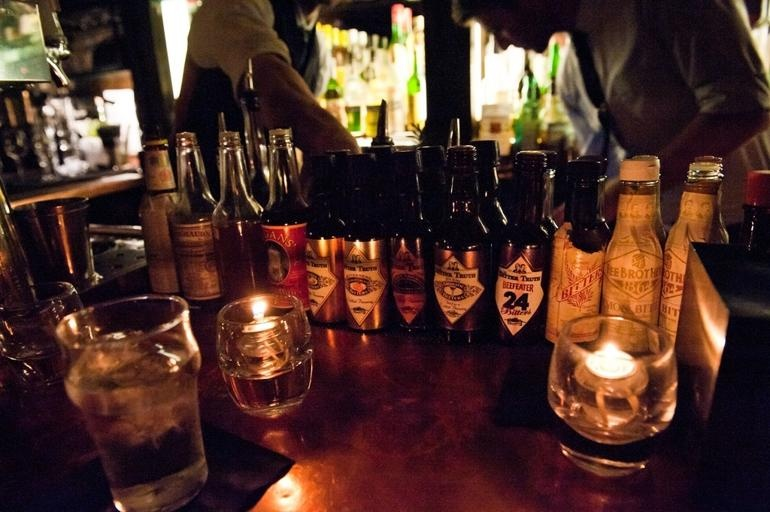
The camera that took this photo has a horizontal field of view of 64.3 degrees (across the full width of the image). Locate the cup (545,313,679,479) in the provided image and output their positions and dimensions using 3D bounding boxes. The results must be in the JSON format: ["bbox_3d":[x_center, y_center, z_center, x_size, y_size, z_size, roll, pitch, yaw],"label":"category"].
[{"bbox_3d":[0.379,0.213,1.133,0.249,0.243,0.261,-1,14,0],"label":"cup"}]
